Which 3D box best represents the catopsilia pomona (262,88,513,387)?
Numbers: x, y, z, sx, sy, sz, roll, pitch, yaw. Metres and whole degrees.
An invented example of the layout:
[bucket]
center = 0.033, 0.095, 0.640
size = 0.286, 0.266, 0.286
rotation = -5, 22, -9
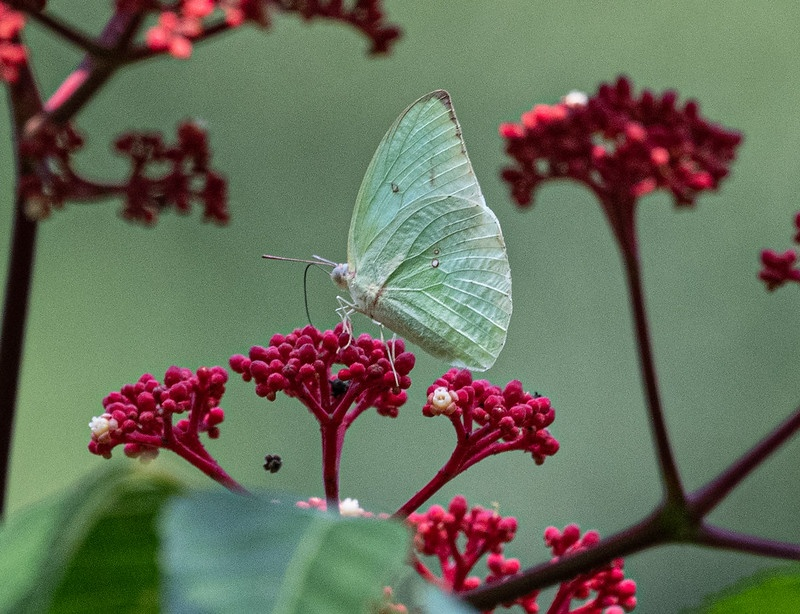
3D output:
[catopsilia pomona]
center = 0.082, -0.090, 2.342
size = 0.526, 0.627, 0.450
rotation = 3, -15, 14
